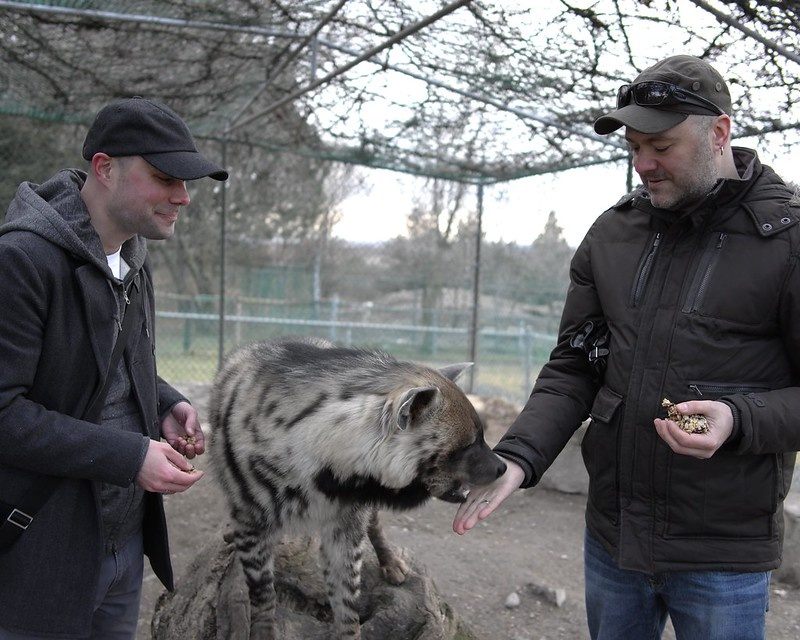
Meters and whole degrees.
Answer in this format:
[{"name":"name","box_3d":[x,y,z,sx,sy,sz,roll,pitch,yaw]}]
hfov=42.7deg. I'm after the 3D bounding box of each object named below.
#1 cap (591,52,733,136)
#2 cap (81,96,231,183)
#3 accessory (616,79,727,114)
[{"name":"cap","box_3d":[1.182,-1.008,4.635,0.499,0.257,0.348,-2,7,-12]},{"name":"cap","box_3d":[-1.097,-0.827,4.602,0.558,0.281,0.359,8,14,1]},{"name":"accessory","box_3d":[1.184,-0.992,4.563,0.260,0.063,0.220,10,6,-7]}]
